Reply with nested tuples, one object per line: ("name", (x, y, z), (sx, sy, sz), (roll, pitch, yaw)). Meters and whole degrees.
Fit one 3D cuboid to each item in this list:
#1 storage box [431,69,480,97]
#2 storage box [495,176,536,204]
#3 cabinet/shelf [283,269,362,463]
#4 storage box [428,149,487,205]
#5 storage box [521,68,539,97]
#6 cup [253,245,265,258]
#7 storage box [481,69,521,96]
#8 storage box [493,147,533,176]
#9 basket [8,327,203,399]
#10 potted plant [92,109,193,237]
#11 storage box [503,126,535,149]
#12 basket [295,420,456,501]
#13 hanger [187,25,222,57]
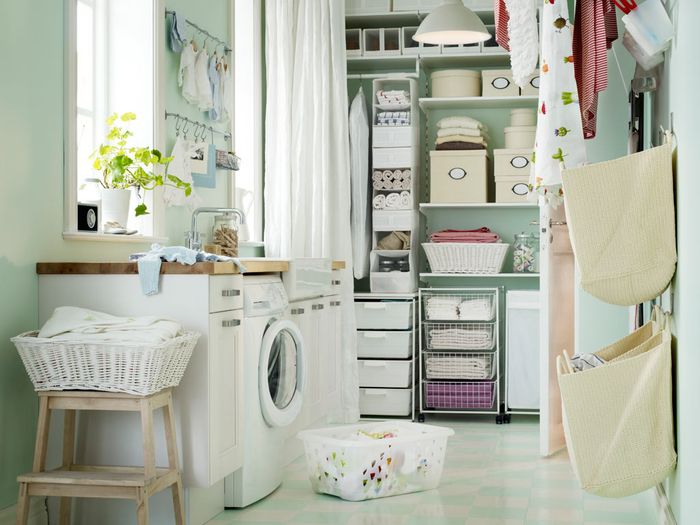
("storage box", (0.790, -1.307, 4.740), (0.359, 0.218, 0.196), (-1, 1, 7))
("storage box", (1.156, -0.506, 4.442), (0.305, 0.206, 0.318), (0, -3, 1))
("cabinet/shelf", (-0.180, 0.628, 3.767), (0.365, 1.012, 1.002), (-2, -4, 10))
("storage box", (0.799, -0.582, 4.671), (0.370, 0.354, 0.389), (0, -2, 12))
("storage box", (1.298, -1.290, 4.586), (0.126, 0.188, 0.075), (-1, 1, 16))
("cup", (-0.650, -0.078, 4.566), (0.064, 0.125, 0.125), (-2, -2, 17))
("storage box", (1.080, -1.295, 4.562), (0.204, 0.163, 0.215), (0, -3, 1))
("storage box", (1.173, -0.717, 4.577), (0.298, 0.202, 0.313), (0, 0, 0))
("basket", (-0.954, 0.383, 2.454), (0.426, 0.184, 0.320), (3, -3, 0))
("potted plant", (-1.079, -0.473, 3.302), (0.533, 0.649, 0.437), (-2, 1, -27))
("storage box", (1.237, -0.902, 4.603), (0.161, 0.110, 0.169), (1, 2, 13))
("basket", (0.140, 0.917, 3.160), (0.554, 0.231, 0.409), (1, -3, -40))
("hanger", (-0.881, -1.398, 3.965), (0.034, 0.058, 0.485), (-3, -4, 19))
